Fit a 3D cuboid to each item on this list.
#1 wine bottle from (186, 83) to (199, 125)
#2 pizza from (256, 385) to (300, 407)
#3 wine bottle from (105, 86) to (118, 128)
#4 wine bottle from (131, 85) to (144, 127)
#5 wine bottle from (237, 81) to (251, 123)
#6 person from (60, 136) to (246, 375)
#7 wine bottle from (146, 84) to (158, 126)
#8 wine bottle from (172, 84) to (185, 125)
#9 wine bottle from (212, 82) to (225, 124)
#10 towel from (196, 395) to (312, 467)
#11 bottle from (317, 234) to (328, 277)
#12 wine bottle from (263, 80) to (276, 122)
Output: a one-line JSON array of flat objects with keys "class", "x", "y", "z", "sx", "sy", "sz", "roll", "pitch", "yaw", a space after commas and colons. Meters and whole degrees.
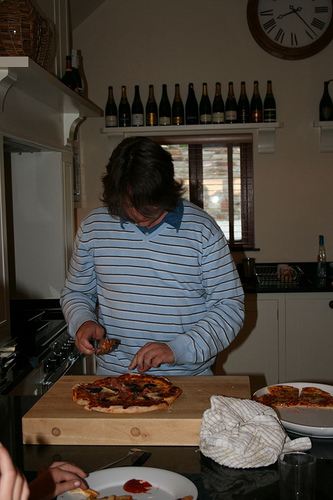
[{"class": "wine bottle", "x": 0.215, "y": -1.221, "z": 3.730, "sx": 0.104, "sy": 0.335, "sz": 0.081, "roll": -1, "pitch": 3, "yaw": 3}, {"class": "pizza", "x": 0.299, "y": 0.383, "z": 1.169, "sx": 0.103, "sy": 0.016, "sz": 0.166, "roll": 0, "pitch": 3, "yaw": 22}, {"class": "wine bottle", "x": -0.467, "y": -1.214, "z": 3.786, "sx": 0.103, "sy": 0.362, "sz": 0.103, "roll": -1, "pitch": 3, "yaw": 0}, {"class": "wine bottle", "x": -0.246, "y": -1.208, "z": 3.752, "sx": 0.109, "sy": 0.361, "sz": 0.145, "roll": -1, "pitch": 3, "yaw": -4}, {"class": "wine bottle", "x": 0.643, "y": -1.239, "z": 3.701, "sx": 0.130, "sy": 0.367, "sz": 0.098, "roll": -1, "pitch": 3, "yaw": -8}, {"class": "person", "x": -0.079, "y": 0.050, "z": 1.390, "sx": 0.448, "sy": 0.743, "sz": 0.535, "roll": -3, "pitch": 3, "yaw": -35}, {"class": "wine bottle", "x": -0.125, "y": -1.204, "z": 3.739, "sx": 0.101, "sy": 0.340, "sz": 0.122, "roll": -1, "pitch": 3, "yaw": 2}, {"class": "wine bottle", "x": 0.096, "y": -1.212, "z": 3.728, "sx": 0.107, "sy": 0.330, "sz": 0.092, "roll": -1, "pitch": 3, "yaw": 4}, {"class": "wine bottle", "x": 0.430, "y": -1.217, "z": 3.700, "sx": 0.106, "sy": 0.342, "sz": 0.100, "roll": -1, "pitch": 3, "yaw": 0}, {"class": "towel", "x": 0.145, "y": 0.351, "z": 0.861, "sx": 0.160, "sy": 0.105, "sz": 0.110, "roll": 0, "pitch": 3, "yaw": 4}, {"class": "bottle", "x": 1.272, "y": 0.046, "z": 3.643, "sx": 0.081, "sy": 0.346, "sz": 0.302, "roll": 0, "pitch": 3, "yaw": 20}, {"class": "wine bottle", "x": 0.860, "y": -1.239, "z": 3.704, "sx": 0.126, "sy": 0.342, "sz": 0.090, "roll": -1, "pitch": 3, "yaw": -6}]
